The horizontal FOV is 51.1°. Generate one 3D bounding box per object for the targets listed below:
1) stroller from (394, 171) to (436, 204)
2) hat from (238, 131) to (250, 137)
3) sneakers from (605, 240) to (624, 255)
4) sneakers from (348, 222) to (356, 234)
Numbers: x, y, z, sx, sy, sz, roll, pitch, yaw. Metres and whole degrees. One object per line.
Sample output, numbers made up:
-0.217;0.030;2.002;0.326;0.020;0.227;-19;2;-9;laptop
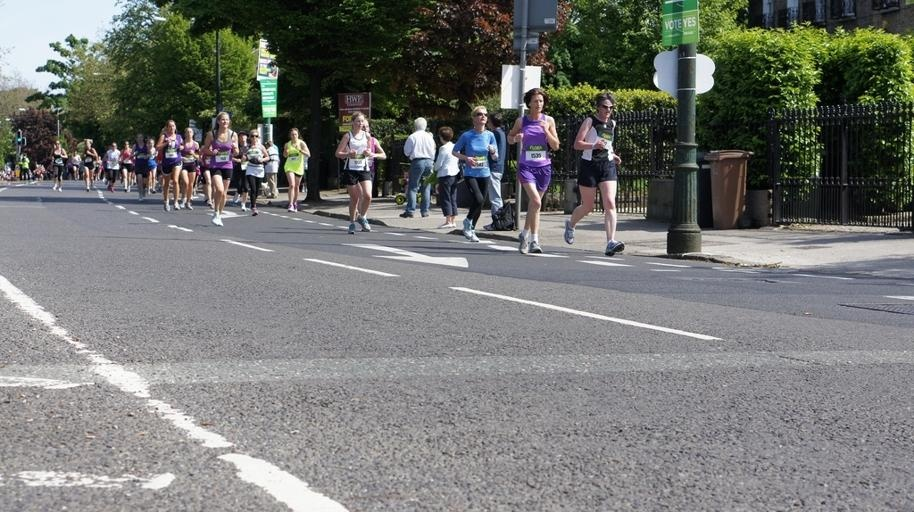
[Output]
-1.262;-2.045;29.828;1.563;0.822;0.633;-3;-18;38;stroller
-6.358;-3.592;28.282;0.450;0.118;0.426;-2;4;-18;hat
2.652;-0.134;16.097;0.162;0.187;0.428;-21;-4;-40;sneakers
-2.187;-0.579;19.851;0.247;0.277;0.697;0;-1;-6;sneakers
